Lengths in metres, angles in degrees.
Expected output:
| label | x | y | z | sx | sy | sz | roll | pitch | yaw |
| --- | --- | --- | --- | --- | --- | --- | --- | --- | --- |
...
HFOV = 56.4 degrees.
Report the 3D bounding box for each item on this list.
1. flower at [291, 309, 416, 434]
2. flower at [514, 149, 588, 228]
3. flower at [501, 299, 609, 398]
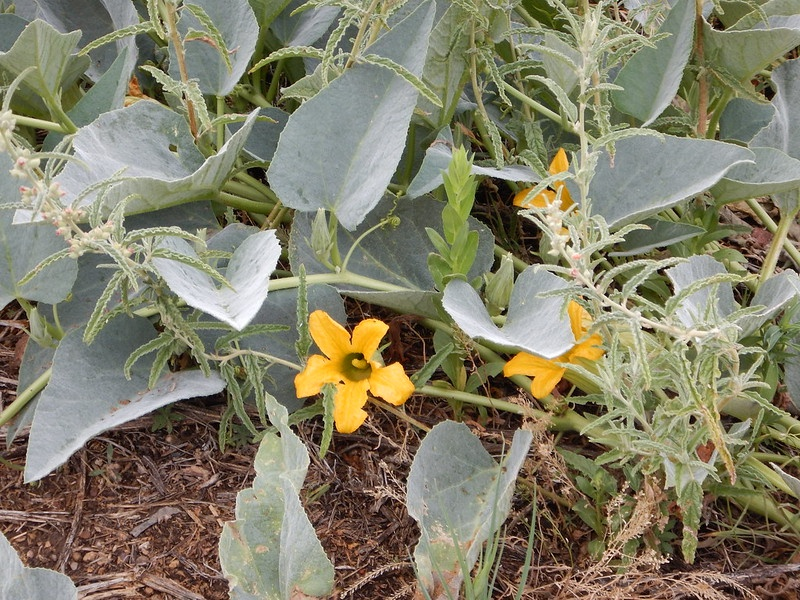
| label | x | y | z | sx | sy | sz | roll | pitch | yaw |
| --- | --- | --- | --- | --- | --- | --- | --- | --- | --- |
| flower | -0.100 | 0.125 | 1.358 | 0.190 | 0.139 | 0.196 | -17 | 48 | -14 |
| flower | 0.293 | -0.228 | 1.488 | 0.131 | 0.053 | 0.187 | 15 | 62 | 23 |
| flower | 0.297 | 0.081 | 1.328 | 0.157 | 0.063 | 0.141 | -25 | 92 | -16 |
